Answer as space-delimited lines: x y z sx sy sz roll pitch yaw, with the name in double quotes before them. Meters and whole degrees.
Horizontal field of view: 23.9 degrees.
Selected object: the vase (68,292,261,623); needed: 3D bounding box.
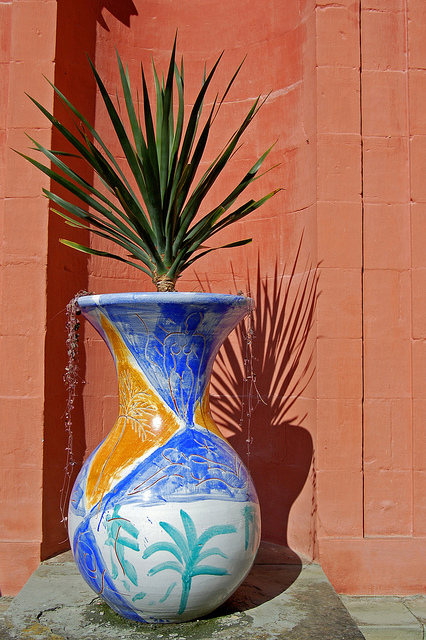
"vase" -0.169 0.476 3.527 0.670 1.109 0.703 0 3 1
